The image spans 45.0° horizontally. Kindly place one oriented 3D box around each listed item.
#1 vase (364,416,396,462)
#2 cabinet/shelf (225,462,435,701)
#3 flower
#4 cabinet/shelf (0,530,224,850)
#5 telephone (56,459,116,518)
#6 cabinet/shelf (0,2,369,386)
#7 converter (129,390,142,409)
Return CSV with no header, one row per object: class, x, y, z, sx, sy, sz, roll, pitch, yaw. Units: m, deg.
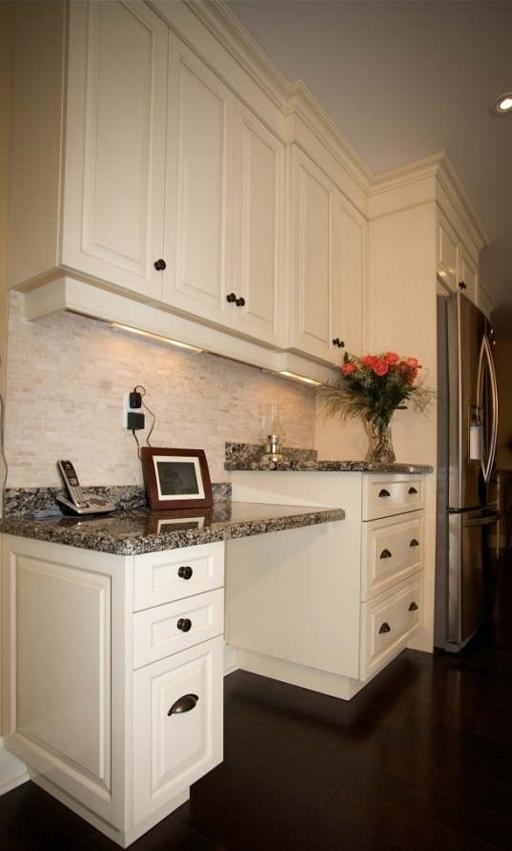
vase,0.561,0.070,2.812,0.138,0.179,0.357,1,-2,11
cabinet/shelf,0.328,0.530,2.523,0.594,0.803,0.835,1,-2,24
flower,0.591,-0.176,2.785,0.366,0.400,0.424,4,9,-31
cabinet/shelf,-0.371,0.589,1.484,0.523,0.641,0.337,0,-2,29
telephone,-0.479,0.175,1.646,0.198,0.084,0.116,26,22,36
cabinet/shelf,-0.138,-0.753,2.002,0.274,1.056,1.249,0,-2,43
converter,-0.380,-0.079,1.934,0.042,0.063,0.020,14,19,42
